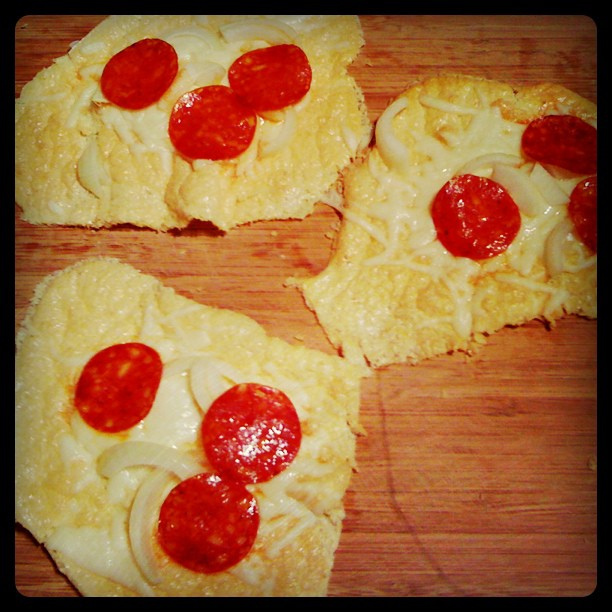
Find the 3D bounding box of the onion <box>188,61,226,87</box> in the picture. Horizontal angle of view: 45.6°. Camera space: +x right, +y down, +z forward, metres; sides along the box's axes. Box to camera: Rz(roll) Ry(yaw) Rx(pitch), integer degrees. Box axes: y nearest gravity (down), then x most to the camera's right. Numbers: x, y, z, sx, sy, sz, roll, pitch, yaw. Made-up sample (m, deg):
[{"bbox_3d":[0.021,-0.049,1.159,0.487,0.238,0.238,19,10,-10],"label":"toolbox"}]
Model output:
[{"bbox_3d":[-0.356,-0.859,2.689,0.133,0.031,0.089,-7,80,0],"label":"onion"}]
